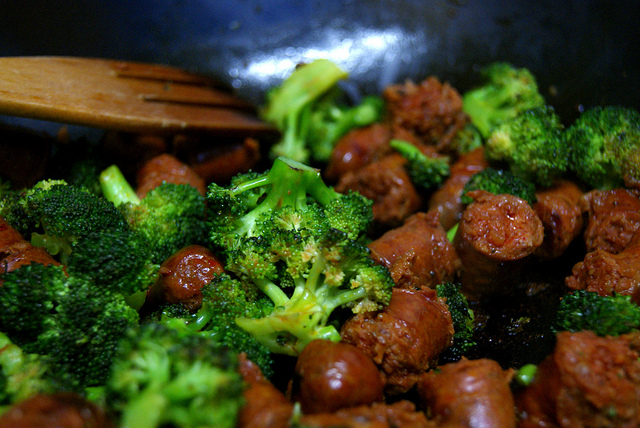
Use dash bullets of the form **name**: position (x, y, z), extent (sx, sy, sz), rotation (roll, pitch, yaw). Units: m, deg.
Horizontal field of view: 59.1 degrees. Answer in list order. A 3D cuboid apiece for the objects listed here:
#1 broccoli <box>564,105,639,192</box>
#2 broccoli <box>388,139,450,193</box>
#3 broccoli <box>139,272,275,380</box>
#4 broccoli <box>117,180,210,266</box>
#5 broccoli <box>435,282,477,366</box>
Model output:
- **broccoli**: position (1.734, -0.396, 3.500), extent (0.406, 0.305, 0.546), rotation (15, 59, 8)
- **broccoli**: position (0.680, -0.324, 3.961), extent (0.408, 0.245, 0.267), rotation (41, 29, 22)
- **broccoli**: position (-0.586, 0.578, 3.080), extent (0.643, 0.327, 0.544), rotation (18, 46, -5)
- **broccoli**: position (-0.913, 0.029, 3.408), extent (0.392, 0.287, 0.606), rotation (-7, 95, -19)
- **broccoli**: position (0.785, 0.621, 3.335), extent (0.186, 0.208, 0.479), rotation (-1, 96, -13)
